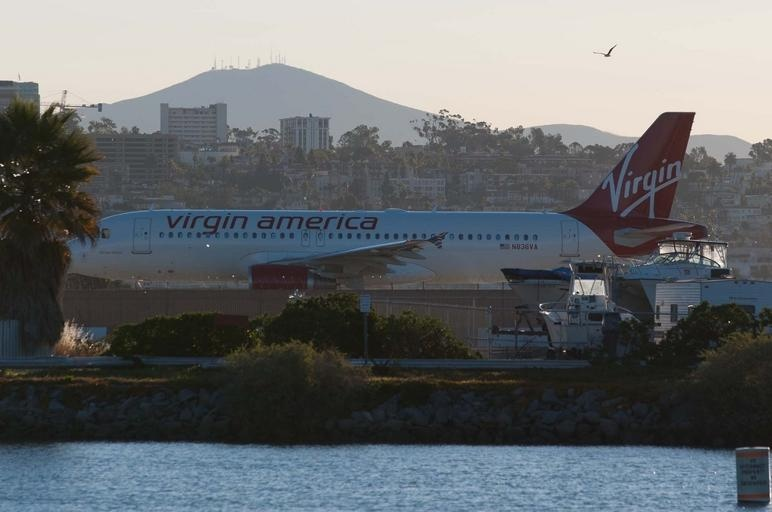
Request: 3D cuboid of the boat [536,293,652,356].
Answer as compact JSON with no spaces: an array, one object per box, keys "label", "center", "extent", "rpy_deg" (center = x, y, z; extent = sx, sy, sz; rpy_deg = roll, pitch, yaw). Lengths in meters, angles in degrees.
[{"label":"boat","center":[12.070,4.675,124.611],"extent":[9.526,3.877,4.281],"rpy_deg":[2,0,4]}]
